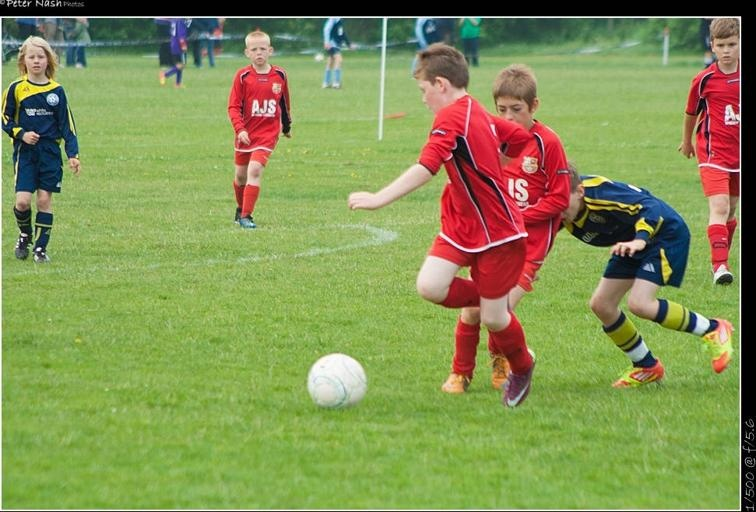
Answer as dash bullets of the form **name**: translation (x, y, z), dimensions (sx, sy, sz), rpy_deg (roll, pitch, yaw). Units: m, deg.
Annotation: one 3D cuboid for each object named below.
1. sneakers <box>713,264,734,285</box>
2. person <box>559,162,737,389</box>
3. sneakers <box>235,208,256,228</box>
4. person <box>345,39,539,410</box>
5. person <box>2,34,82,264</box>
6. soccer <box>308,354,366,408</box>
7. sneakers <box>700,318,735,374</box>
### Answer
- **sneakers**: translation (3.087, 0.174, 9.175), dimensions (0.109, 0.112, 0.252), rpy_deg (0, -6, 1)
- **person**: translation (1.665, 0.094, 7.412), dimensions (1.655, 1.546, 0.953), rpy_deg (4, -19, -8)
- **sneakers**: translation (-1.438, -0.389, 10.903), dimensions (0.119, 0.162, 0.347), rpy_deg (-5, 7, -30)
- **person**: translation (0.593, -0.169, 6.989), dimensions (1.185, 2.491, 0.671), rpy_deg (-4, 15, -13)
- **person**: translation (-3.132, -0.983, 9.481), dimensions (0.664, 2.073, 0.539), rpy_deg (-4, 15, -14)
- **soccer**: translation (-0.292, 0.885, 7.150), dimensions (0.385, 0.361, 0.353), rpy_deg (-2, -21, -4)
- **sneakers**: translation (2.449, 0.656, 7.436), dimensions (0.199, 0.456, 0.156), rpy_deg (20, -27, -25)
